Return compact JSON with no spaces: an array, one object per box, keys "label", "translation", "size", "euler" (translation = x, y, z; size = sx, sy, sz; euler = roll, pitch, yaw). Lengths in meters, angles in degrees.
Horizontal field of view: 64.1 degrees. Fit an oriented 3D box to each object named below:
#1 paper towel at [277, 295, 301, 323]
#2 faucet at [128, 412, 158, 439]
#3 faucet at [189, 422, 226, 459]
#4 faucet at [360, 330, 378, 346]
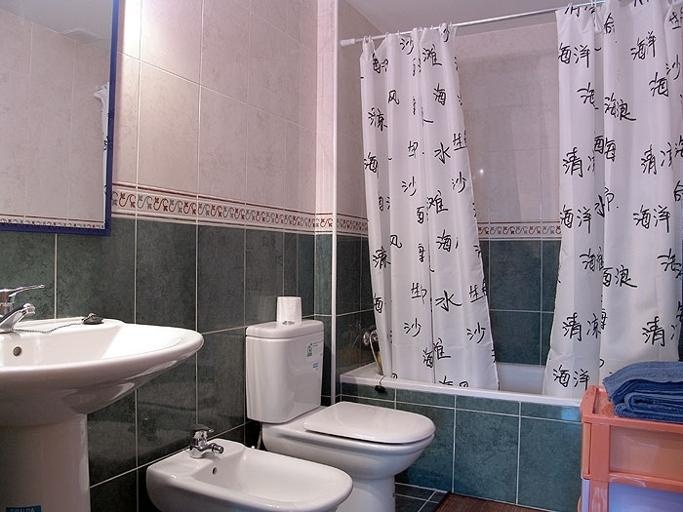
[{"label":"paper towel","translation":[-0.267,0.272,2.752],"size":[0.112,0.114,0.119],"euler":[0,-2,2]},{"label":"faucet","translation":[-0.777,0.655,2.104],"size":[0.062,0.122,0.118],"euler":[3,0,26]},{"label":"faucet","translation":[-0.546,0.755,2.194],"size":[0.151,0.127,0.073],"euler":[5,4,25]},{"label":"faucet","translation":[0.165,0.488,3.229],"size":[0.072,0.028,0.103],"euler":[16,-39,-19]}]
